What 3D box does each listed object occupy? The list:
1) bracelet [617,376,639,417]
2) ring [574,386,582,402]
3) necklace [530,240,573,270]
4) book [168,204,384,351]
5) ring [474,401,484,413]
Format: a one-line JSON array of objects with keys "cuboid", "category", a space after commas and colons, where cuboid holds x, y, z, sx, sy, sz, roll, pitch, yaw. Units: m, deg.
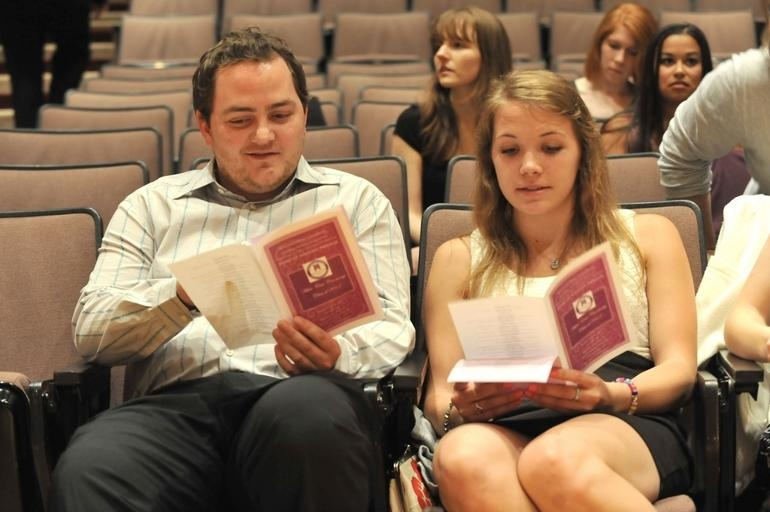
[{"cuboid": [0.792, 0.455, 2.252, 0.031, 0.101, 0.067, 8, -12, -44], "category": "bracelet"}, {"cuboid": [0.602, 0.435, 2.172, 0.028, 0.030, 0.024, 1, 10, -3], "category": "ring"}, {"cuboid": [0.593, 0.013, 2.522, 0.108, 0.092, 0.118, -2, -4, 29], "category": "necklace"}, {"cuboid": [-0.337, 0.073, 2.185, 0.632, 0.414, 0.058, -5, 14, -2], "category": "book"}, {"cuboid": [0.304, 0.491, 2.250, 0.022, 0.031, 0.009, -42, -6, 29], "category": "ring"}]
